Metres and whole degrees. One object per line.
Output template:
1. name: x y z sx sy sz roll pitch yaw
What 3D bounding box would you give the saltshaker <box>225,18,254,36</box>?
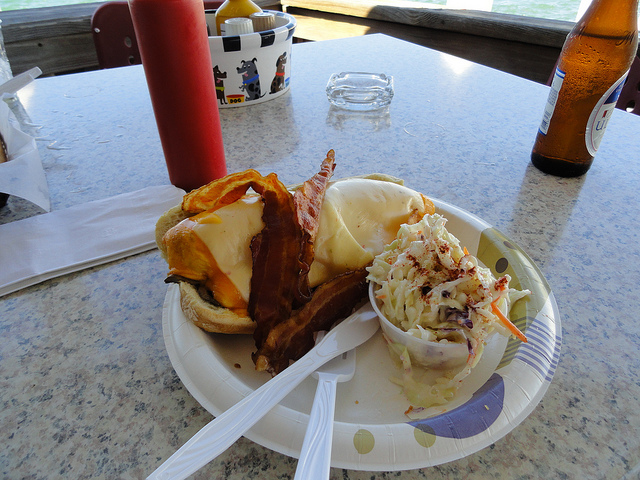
1. saltshaker: -0.170 -0.439 0.903 0.044 0.042 0.044 -18 41 -25

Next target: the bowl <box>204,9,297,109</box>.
1. bowl: -0.164 -0.418 1.004 0.242 0.134 0.262 0 38 0

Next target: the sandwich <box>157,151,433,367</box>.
1. sandwich: -0.030 0.017 0.561 0.300 0.109 0.226 -26 60 -31
